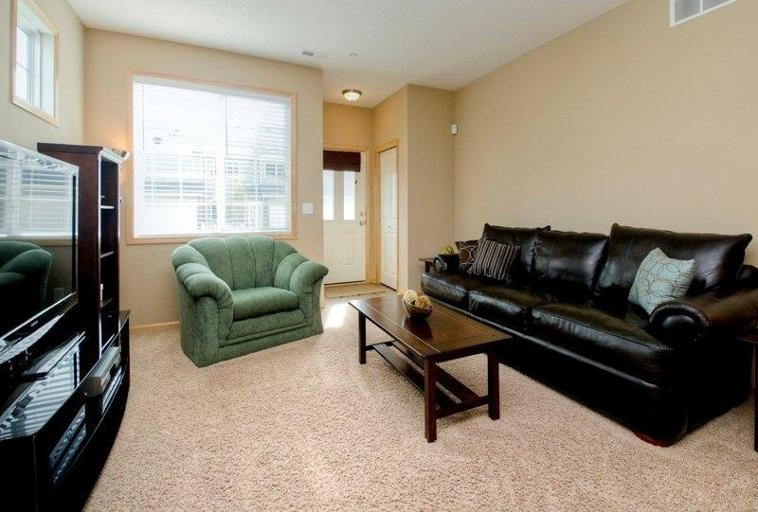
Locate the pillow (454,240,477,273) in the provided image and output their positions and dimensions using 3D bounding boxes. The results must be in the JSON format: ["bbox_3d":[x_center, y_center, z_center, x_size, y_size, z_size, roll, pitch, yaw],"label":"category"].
[{"bbox_3d":[0.911,-0.021,5.434,0.092,0.297,0.276,16,-21,-22],"label":"pillow"}]

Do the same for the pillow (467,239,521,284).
[{"bbox_3d":[1.151,0.059,5.045,0.126,0.417,0.454,25,-5,-34],"label":"pillow"}]

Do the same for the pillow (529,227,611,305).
[{"bbox_3d":[1.731,0.110,4.564,0.479,0.560,0.289,23,4,26],"label":"pillow"}]

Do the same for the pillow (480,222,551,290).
[{"bbox_3d":[1.382,-0.024,5.070,0.179,0.600,0.575,20,-10,-39],"label":"pillow"}]
